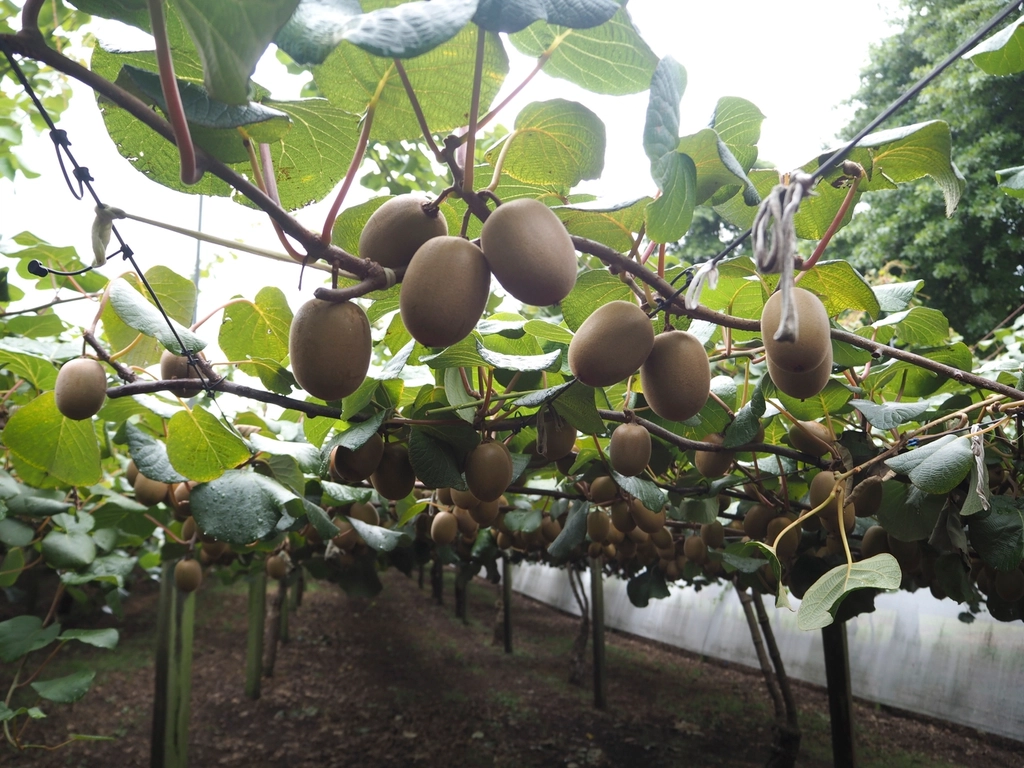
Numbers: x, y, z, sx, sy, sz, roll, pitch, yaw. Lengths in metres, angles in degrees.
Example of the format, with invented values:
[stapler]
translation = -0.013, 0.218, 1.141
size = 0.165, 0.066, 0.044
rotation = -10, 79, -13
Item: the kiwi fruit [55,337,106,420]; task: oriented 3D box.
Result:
[kiwi fruit]
translation = -1.117, 0.020, 2.131
size = 0.115, 0.167, 0.115
rotation = -2, -2, -14
